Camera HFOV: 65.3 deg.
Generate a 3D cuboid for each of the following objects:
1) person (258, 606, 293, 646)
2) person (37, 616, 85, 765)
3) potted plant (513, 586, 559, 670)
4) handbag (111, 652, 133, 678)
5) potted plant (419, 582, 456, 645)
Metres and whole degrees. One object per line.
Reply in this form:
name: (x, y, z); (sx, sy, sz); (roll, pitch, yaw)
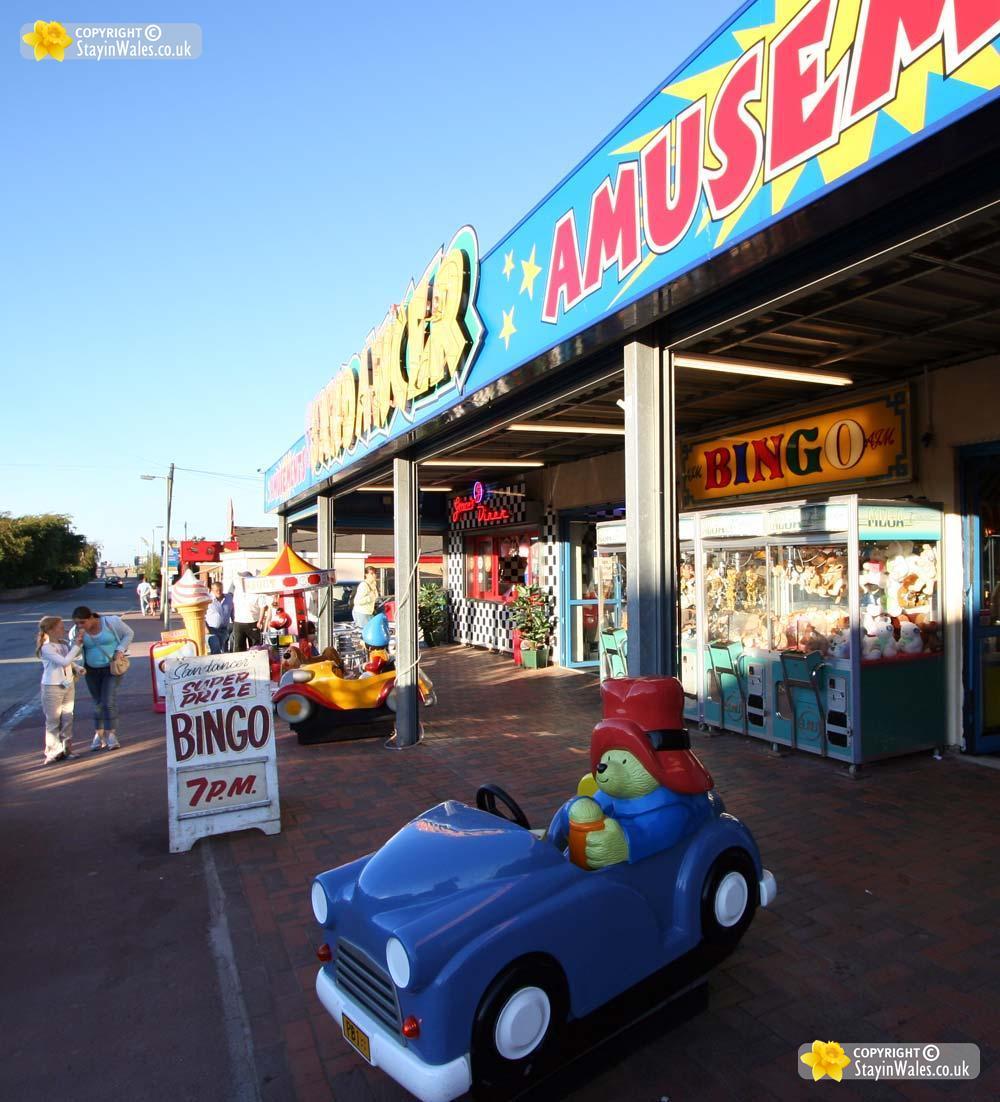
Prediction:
person: (-4.146, 1.323, 14.501); (0.483, 0.739, 1.738); (-7, 3, -18)
person: (-4.679, 1.449, 8.262); (0.425, 1.767, 0.686); (-8, 3, -31)
potted plant: (0.696, 1.410, 14.734); (0.699, 1.318, 0.813); (-7, 3, -19)
handbag: (-4.135, 1.233, 8.506); (0.147, 0.282, 0.471); (-7, 3, -20)
potted plant: (-1.505, 1.555, 19.293); (0.753, 1.403, 0.984); (-6, 2, 6)
